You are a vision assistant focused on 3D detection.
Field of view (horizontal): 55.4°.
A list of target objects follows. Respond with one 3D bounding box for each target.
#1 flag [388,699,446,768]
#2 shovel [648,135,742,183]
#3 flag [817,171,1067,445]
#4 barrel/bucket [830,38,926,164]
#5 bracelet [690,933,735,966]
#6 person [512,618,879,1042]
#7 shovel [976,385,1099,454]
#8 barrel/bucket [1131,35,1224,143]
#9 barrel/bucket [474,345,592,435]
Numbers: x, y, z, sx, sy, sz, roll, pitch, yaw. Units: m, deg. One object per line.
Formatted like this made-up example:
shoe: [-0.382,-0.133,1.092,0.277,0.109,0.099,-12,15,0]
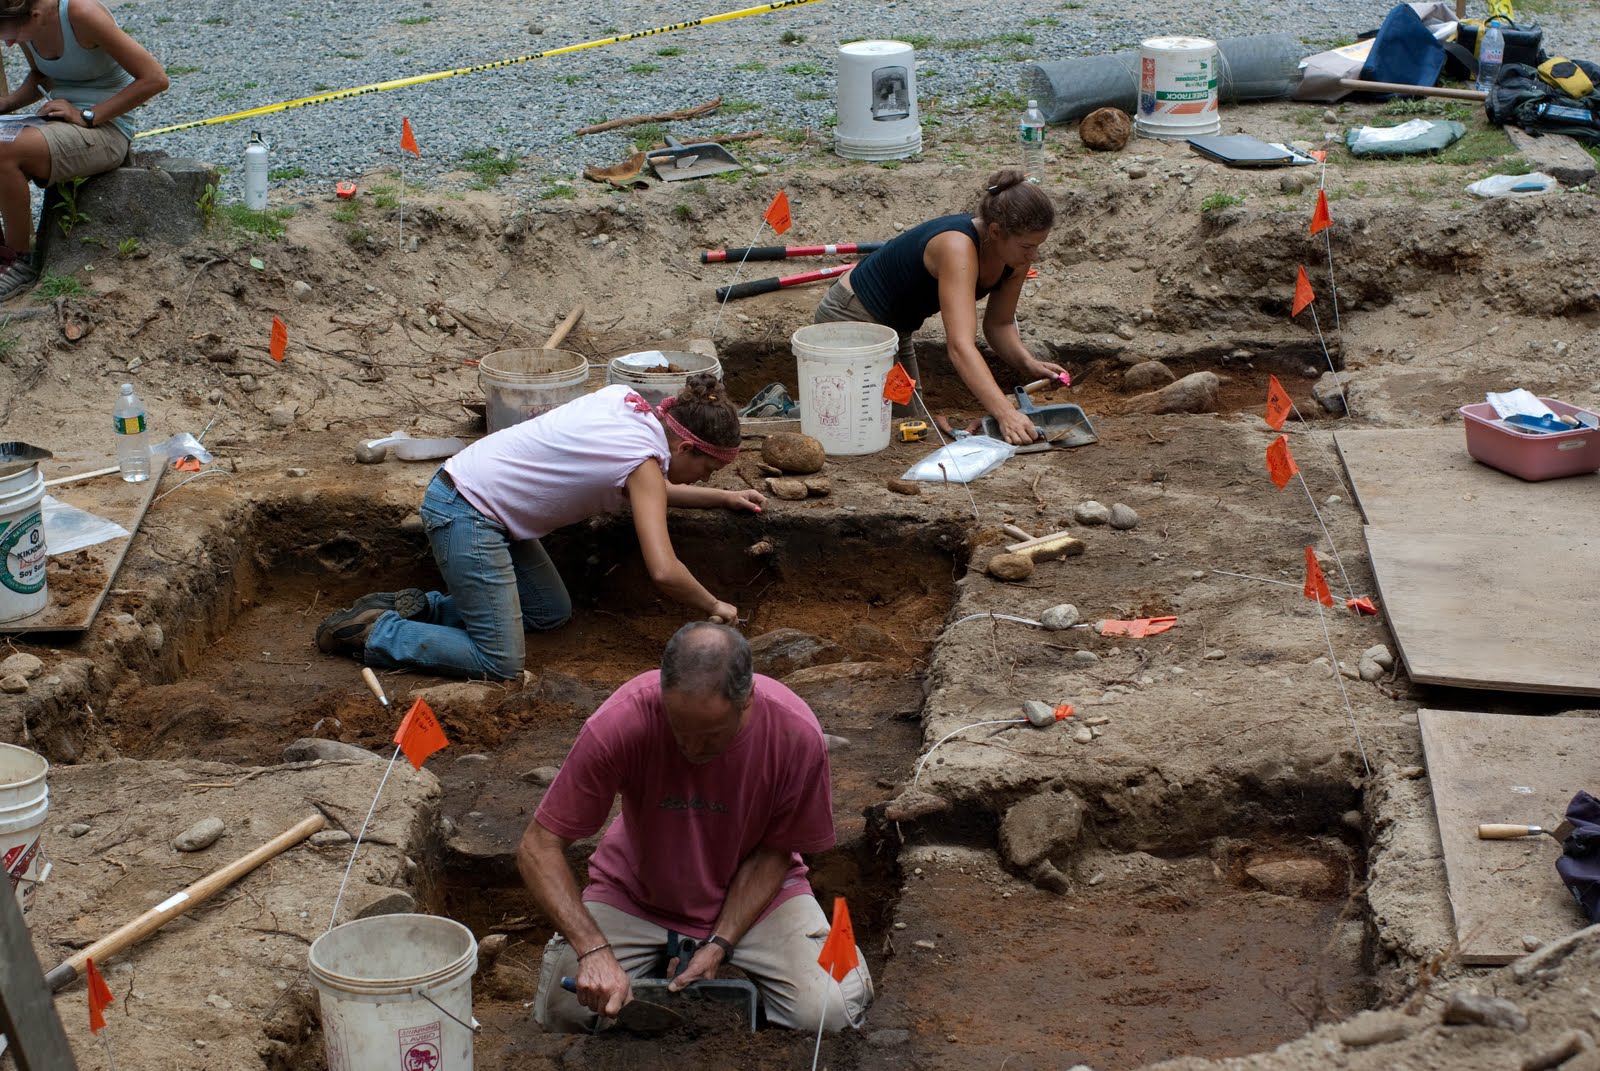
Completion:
flag: [-1.499,0.776,5.969,0.156,0.473,0.241,41,78,6]
shovel: [-0.729,-2.542,10.309,0.634,0.104,0.298,-7,37,0]
flag: [0.799,-1.226,7.946,0.672,1.437,1.288,-30,39,-33]
barrel/bucket: [0.497,-2.933,10.303,0.582,0.751,0.486,-3,32,3]
bracelet: [-0.292,1.432,5.296,0.126,0.053,0.134,6,-2,-6]
person: [-0.437,1.021,5.214,1.143,1.566,0.720,-9,33,-8]
shovel: [1.393,-0.595,8.305,0.557,0.191,0.517,-5,24,-3]
barrel/bucket: [2.565,-3.036,10.355,0.560,0.617,0.522,-3,30,2]
barrel/bucket: [-1.423,-0.767,8.065,0.645,0.334,0.551,-1,9,-5]
